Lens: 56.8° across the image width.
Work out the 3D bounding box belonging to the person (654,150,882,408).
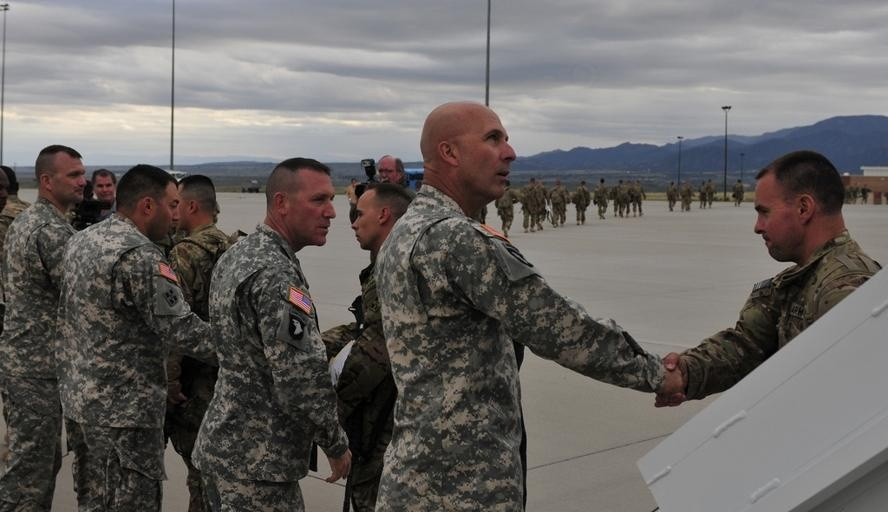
[{"bbox_3d":[2.107,0.153,5.192,1.056,1.612,0.508,7,14,32],"label":"person"}]

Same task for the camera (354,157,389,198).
[{"bbox_3d":[-1.108,-1.140,12.194,0.422,0.568,0.266,0,-15,10],"label":"camera"}]

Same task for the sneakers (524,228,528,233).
[{"bbox_3d":[2.570,-0.812,25.716,0.138,0.132,0.130,-7,-35,12],"label":"sneakers"}]
